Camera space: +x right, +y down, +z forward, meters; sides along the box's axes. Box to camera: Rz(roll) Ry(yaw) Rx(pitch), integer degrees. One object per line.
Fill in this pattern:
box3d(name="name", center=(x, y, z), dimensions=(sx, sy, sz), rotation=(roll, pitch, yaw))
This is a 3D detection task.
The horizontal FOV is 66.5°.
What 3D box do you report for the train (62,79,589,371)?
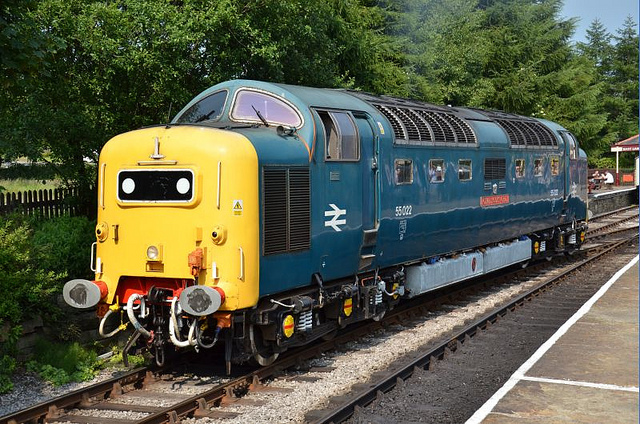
box3d(name="train", center=(3.715, -0.958, 16.152), dimensions=(4.733, 6.145, 22.290), rotation=(3, 6, 36))
